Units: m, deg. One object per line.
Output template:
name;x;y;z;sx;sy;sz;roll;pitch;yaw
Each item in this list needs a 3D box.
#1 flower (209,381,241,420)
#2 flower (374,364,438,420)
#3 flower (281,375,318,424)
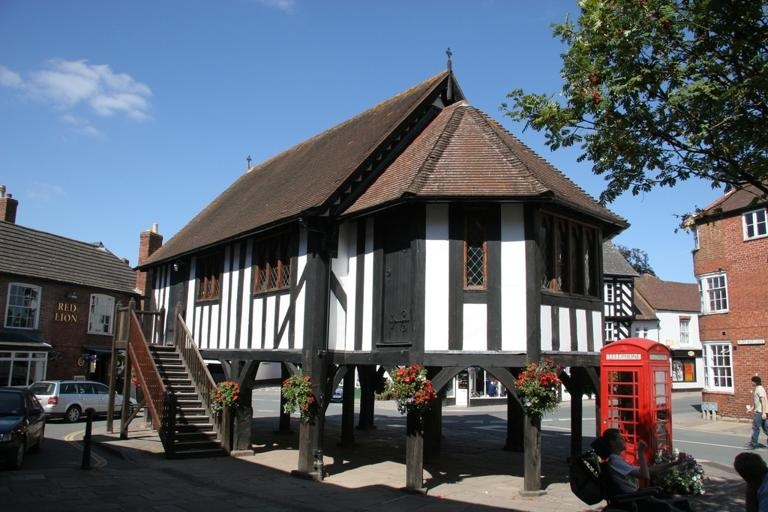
flower;-4.842;4.177;17.880;0.879;0.881;0.872;2;-14;-4
flower;0.723;3.248;14.945;1.290;1.229;1.102;12;-2;31
flower;-2.268;3.696;15.846;1.003;1.172;0.600;-3;-13;12
